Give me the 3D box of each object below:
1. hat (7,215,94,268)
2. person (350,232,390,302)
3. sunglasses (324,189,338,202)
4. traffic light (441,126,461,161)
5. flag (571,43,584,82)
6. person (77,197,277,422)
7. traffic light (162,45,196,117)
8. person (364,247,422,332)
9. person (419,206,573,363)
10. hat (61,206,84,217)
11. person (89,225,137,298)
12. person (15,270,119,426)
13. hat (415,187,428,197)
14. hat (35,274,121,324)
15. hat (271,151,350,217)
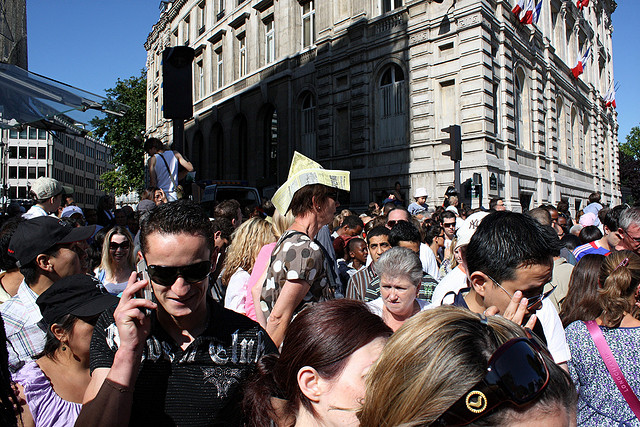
[{"bbox_3d":[-2.689,0.242,5.646,0.674,0.352,0.469,-17,23,-24],"label":"hat"},{"bbox_3d":[0.637,0.672,7.051,0.562,1.145,0.344,2,-6,-25],"label":"person"},{"bbox_3d":[0.132,-0.179,5.606,0.081,0.113,0.196,3,-2,34],"label":"sunglasses"},{"bbox_3d":[3.276,-1.741,13.946,0.380,0.700,0.404,2,-1,32],"label":"traffic light"},{"bbox_3d":[13.408,-7.731,29.162,0.490,1.402,2.828,2,-2,25],"label":"flag"},{"bbox_3d":[-1.083,0.726,4.259,1.271,1.701,0.449,3,-1,-3],"label":"person"},{"bbox_3d":[-2.760,-2.541,10.918,0.546,1.407,0.389,3,-1,-24],"label":"traffic light"},{"bbox_3d":[0.885,0.752,6.065,0.760,0.964,0.655,2,21,17],"label":"person"},{"bbox_3d":[1.512,0.603,4.767,0.844,0.753,0.579,-24,42,-23],"label":"person"},{"bbox_3d":[-4.831,-0.044,10.903,0.273,0.205,0.477,0,1,-21],"label":"hat"},{"bbox_3d":[-2.530,0.589,6.861,0.590,1.077,0.334,3,-18,-21],"label":"person"},{"bbox_3d":[-2.056,1.138,4.563,0.522,1.106,0.865,11,-4,-3],"label":"person"},{"bbox_3d":[2.972,-0.633,16.444,0.252,0.178,0.339,-1,-10,-1],"label":"hat"},{"bbox_3d":[-2.055,0.732,4.795,0.522,0.321,0.452,-18,0,3],"label":"hat"},{"bbox_3d":[-0.124,-0.353,5.758,0.718,0.704,0.529,2,15,41],"label":"hat"}]
